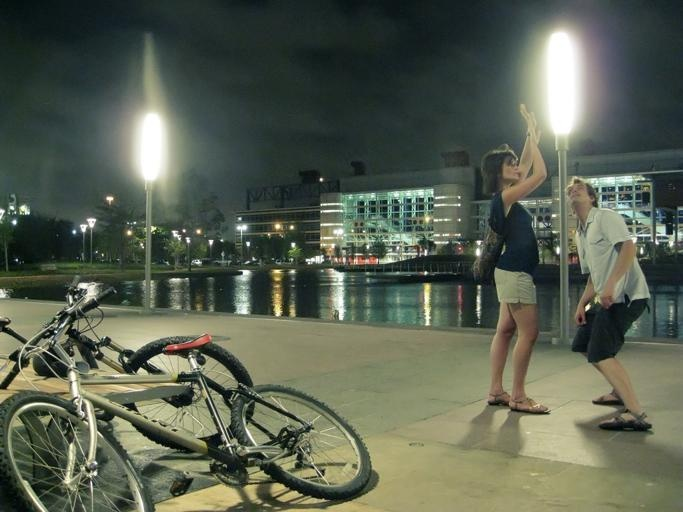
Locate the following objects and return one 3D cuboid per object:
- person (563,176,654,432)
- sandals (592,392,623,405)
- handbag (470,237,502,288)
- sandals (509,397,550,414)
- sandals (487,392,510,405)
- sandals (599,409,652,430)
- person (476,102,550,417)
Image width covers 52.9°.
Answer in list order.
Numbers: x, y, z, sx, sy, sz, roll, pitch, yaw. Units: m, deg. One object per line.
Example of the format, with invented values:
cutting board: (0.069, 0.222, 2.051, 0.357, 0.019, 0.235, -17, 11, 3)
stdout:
person: (2.519, 0.382, 6.468, 0.643, 2.336, 1.021, -2, -1, 10)
sandals: (2.604, 1.412, 6.744, 0.325, 0.131, 0.117, 2, -8, 11)
handbag: (1.470, 0.066, 6.893, 0.291, 0.441, 0.134, 7, -7, 14)
sandals: (1.794, 1.428, 6.579, 0.279, 0.102, 0.153, -1, 1, 15)
sandals: (1.567, 1.424, 6.847, 0.195, 0.088, 0.106, -4, 0, -13)
sandals: (2.496, 1.468, 6.087, 0.473, 0.205, 0.175, 2, -12, 6)
person: (1.735, -0.017, 6.797, 0.584, 2.843, 0.722, -1, -1, -34)
